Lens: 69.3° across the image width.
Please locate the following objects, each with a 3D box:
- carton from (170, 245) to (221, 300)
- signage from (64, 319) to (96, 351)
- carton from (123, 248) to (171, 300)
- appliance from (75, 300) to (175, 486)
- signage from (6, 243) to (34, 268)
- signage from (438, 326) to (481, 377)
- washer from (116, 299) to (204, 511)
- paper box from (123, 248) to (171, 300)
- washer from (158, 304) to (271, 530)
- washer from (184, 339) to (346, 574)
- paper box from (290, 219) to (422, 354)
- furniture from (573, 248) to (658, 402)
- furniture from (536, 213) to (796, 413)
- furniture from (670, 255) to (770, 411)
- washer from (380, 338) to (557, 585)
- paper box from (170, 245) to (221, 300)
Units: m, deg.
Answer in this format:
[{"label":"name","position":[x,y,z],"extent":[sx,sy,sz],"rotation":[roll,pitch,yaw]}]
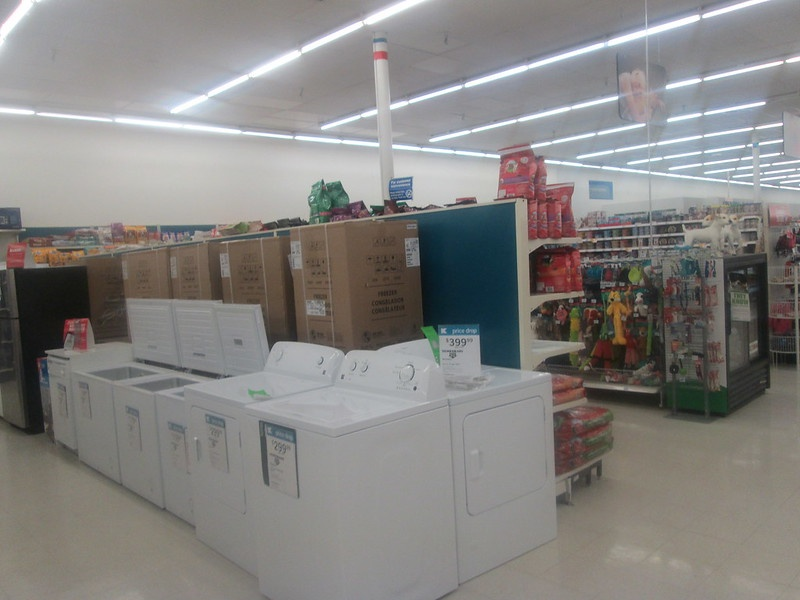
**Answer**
[{"label":"carton","position":[-1.913,-0.230,5.493],"extent":[0.541,0.504,0.329],"rotation":[-4,1,20]},{"label":"signage","position":[-3.217,0.352,5.761],"extent":[0.288,0.217,0.089],"rotation":[1,1,35]},{"label":"carton","position":[-2.660,-0.249,6.207],"extent":[0.577,0.544,0.329],"rotation":[-3,3,14]},{"label":"appliance","position":[-2.528,1.022,5.359],"extent":[0.784,1.114,0.589],"rotation":[14,17,31]},{"label":"signage","position":[-4.536,-0.519,6.869],"extent":[0.410,0.330,0.134],"rotation":[0,0,28]},{"label":"signage","position":[0.357,0.310,3.454],"extent":[0.271,0.322,0.024],"rotation":[-5,-8,34]},{"label":"washer","position":[-2.163,0.816,4.932],"extent":[0.831,1.544,0.594],"rotation":[0,19,32]},{"label":"paper box","position":[-2.655,-0.249,6.208],"extent":[0.583,0.545,0.329],"rotation":[-2,3,15]},{"label":"washer","position":[-1.678,0.903,4.772],"extent":[0.519,1.482,0.827],"rotation":[-23,-27,13]},{"label":"washer","position":[-0.881,1.006,3.890],"extent":[0.905,1.317,0.776],"rotation":[5,9,36]},{"label":"paper box","position":[-0.362,-0.104,4.441],"extent":[0.665,0.917,0.904],"rotation":[-6,0,37]},{"label":"furniture","position":[2.650,0.212,6.460],"extent":[1.493,1.429,0.492],"rotation":[5,-7,-31]},{"label":"furniture","position":[3.009,0.229,6.328],"extent":[1.258,1.611,2.311],"rotation":[-4,4,-37]},{"label":"furniture","position":[3.681,0.349,6.648],"extent":[1.774,1.726,0.675],"rotation":[0,-2,-45]},{"label":"washer","position":[0.489,0.906,3.816],"extent":[1.049,1.473,1.095],"rotation":[7,17,34]},{"label":"paper box","position":[-1.921,-0.211,5.466],"extent":[0.468,0.452,0.259],"rotation":[-4,-3,18]}]
